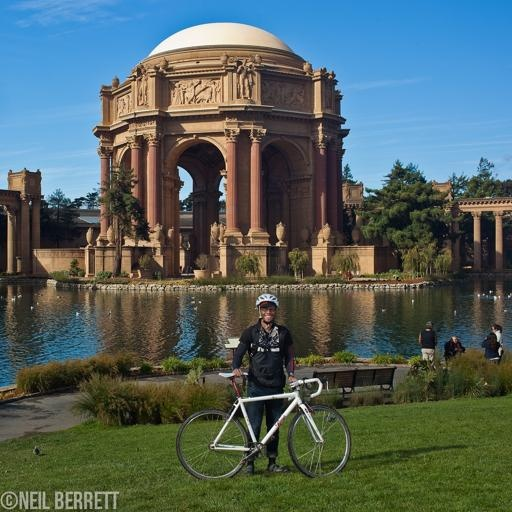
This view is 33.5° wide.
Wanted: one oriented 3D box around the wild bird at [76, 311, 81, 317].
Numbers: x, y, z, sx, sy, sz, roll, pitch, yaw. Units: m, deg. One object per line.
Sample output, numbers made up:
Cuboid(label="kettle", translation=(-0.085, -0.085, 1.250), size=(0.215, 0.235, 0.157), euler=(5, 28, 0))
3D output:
Cuboid(label="wild bird", translation=(-6.613, 2.109, 31.497), size=(0.180, 0.175, 0.140), euler=(4, -2, -36))

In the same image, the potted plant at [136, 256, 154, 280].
Cuboid(label="potted plant", translation=(-7.530, 0.633, 57.528), size=(1.016, 1.532, 2.699), euler=(0, 1, -6))

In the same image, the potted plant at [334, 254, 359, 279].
Cuboid(label="potted plant", translation=(5.995, 0.557, 57.039), size=(1.490, 2.161, 1.540), euler=(1, 4, 4))

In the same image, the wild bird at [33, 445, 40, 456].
Cuboid(label="wild bird", translation=(-2.996, 2.648, 11.626), size=(0.071, 0.104, 0.136), euler=(4, -5, -8))

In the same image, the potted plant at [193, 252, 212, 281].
Cuboid(label="potted plant", translation=(-3.920, 0.672, 60.381), size=(1.503, 2.476, 1.605), euler=(0, -5, 9))

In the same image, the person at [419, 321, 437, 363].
Cuboid(label="person", translation=(3.919, 2.035, 19.490), size=(0.329, 1.165, 0.327), euler=(5, 16, 21))

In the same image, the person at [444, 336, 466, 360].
Cuboid(label="person", translation=(4.537, 2.093, 19.562), size=(0.450, 0.517, 1.194), euler=(0, 1, 14))

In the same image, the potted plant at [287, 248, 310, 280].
Cuboid(label="potted plant", translation=(2.340, 0.474, 56.740), size=(1.647, 2.395, 1.639), euler=(1, 3, 34))

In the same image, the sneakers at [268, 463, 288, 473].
Cuboid(label="sneakers", translation=(0.252, 2.533, 10.269), size=(0.096, 0.130, 0.278), euler=(5, -12, -35))
